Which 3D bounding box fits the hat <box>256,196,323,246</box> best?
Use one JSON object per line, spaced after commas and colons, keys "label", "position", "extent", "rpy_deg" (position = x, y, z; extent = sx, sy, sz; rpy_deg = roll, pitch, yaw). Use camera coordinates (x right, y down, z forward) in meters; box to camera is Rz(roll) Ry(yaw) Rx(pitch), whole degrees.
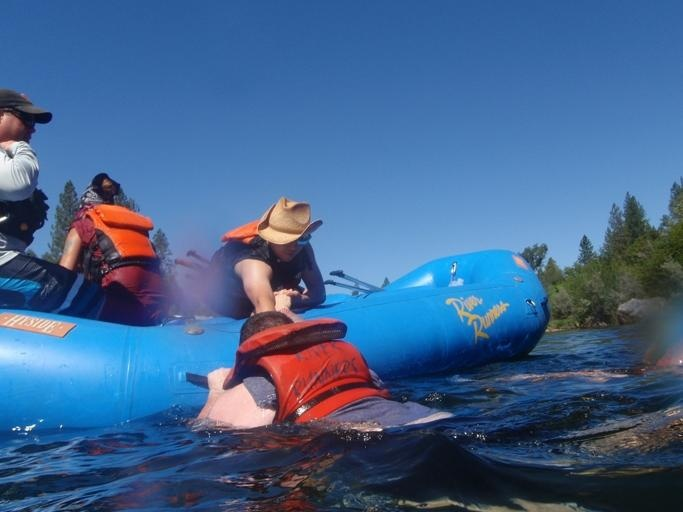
{"label": "hat", "position": [-0.434, -0.372, 4.091], "extent": [0.560, 0.231, 0.654], "rpy_deg": [6, 15, 6]}
